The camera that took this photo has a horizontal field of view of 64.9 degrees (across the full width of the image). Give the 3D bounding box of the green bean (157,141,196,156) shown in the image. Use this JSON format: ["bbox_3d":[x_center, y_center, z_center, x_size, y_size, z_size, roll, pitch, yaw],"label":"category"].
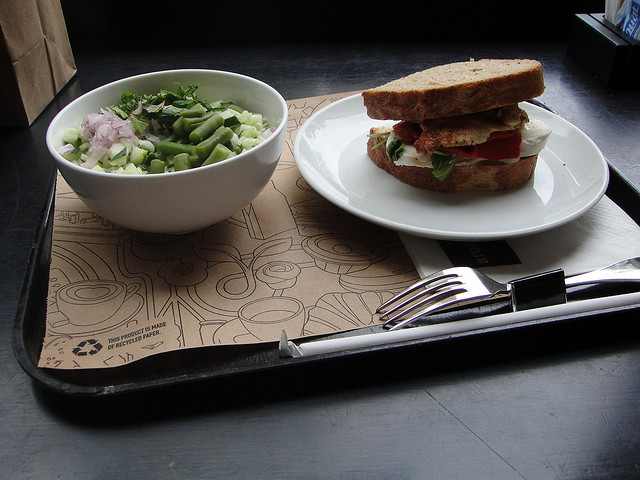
[{"bbox_3d":[-0.307,-0.206,1.099,0.102,0.031,0.031,7,18,8],"label":"green bean"}]

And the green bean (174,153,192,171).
[{"bbox_3d":[-0.282,-0.159,1.031,0.037,0.037,0.039,-12,76,-7],"label":"green bean"}]

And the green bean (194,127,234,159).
[{"bbox_3d":[-0.224,-0.206,1.058,0.041,0.030,0.097,31,49,6],"label":"green bean"}]

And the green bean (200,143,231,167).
[{"bbox_3d":[-0.213,-0.174,1.029,0.033,0.024,0.061,35,58,14],"label":"green bean"}]

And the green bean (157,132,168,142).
[{"bbox_3d":[-0.358,-0.234,1.140,0.019,0.004,0.020,-24,45,-39],"label":"green bean"}]

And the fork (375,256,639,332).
[{"bbox_3d":[0.367,0.108,0.957,0.445,0.049,0.072,-7,47,-1],"label":"fork"}]

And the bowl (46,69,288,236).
[{"bbox_3d":[-0.322,-0.217,1.156,0.492,0.243,0.469,0,53,0],"label":"bowl"}]

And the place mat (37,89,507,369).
[{"bbox_3d":[-0.252,-0.093,1.178,0.945,0.402,0.763,-16,29,-26],"label":"place mat"}]

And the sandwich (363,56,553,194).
[{"bbox_3d":[0.355,-0.364,1.344,0.463,0.216,0.510,-1,53,-1],"label":"sandwich"}]
